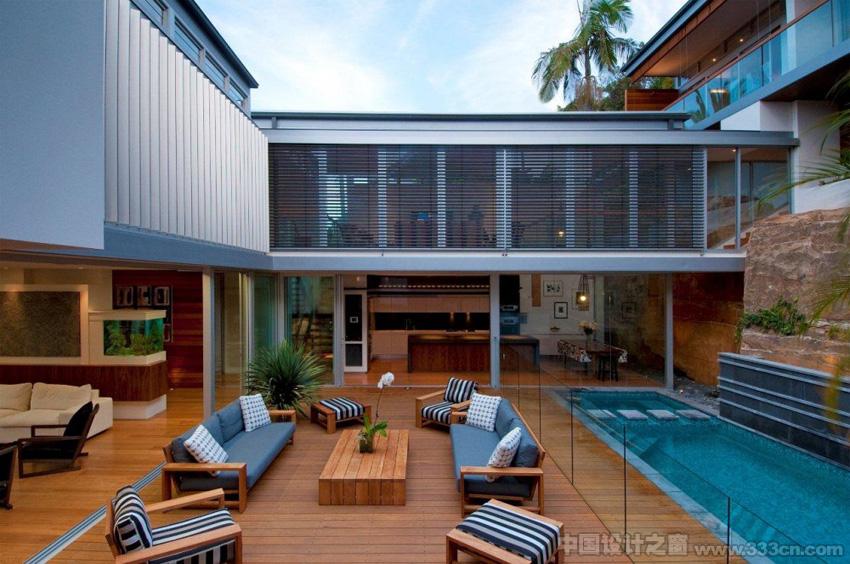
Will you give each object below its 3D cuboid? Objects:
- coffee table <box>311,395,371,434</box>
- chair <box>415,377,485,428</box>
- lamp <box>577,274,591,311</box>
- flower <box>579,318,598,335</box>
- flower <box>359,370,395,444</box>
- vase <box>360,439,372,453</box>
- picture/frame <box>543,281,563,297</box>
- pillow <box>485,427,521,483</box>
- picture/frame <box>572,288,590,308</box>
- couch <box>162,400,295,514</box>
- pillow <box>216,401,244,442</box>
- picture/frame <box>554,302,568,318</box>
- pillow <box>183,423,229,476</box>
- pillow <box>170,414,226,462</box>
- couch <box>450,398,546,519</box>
[{"bbox_3d":[-1.825,2.803,12.898,0.995,0.444,0.913,2,0,-27],"label":"coffee table"},{"bbox_3d":[0.576,2.651,12.983,1.022,0.961,1.123,-1,-4,39],"label":"chair"},{"bbox_3d":[4.116,0.303,15.364,0.358,0.908,0.106,-3,-1,-3],"label":"lamp"},{"bbox_3d":[4.270,1.200,15.450,0.400,0.399,0.386,3,-2,-5],"label":"flower"},{"bbox_3d":[-0.900,2.398,11.047,0.582,1.342,0.525,9,-9,44],"label":"flower"},{"bbox_3d":[-1.058,2.982,10.784,0.218,0.205,0.215,-1,0,-3],"label":"vase"},{"bbox_3d":[3.327,0.184,15.414,0.400,0.290,0.014,0,7,0],"label":"picture/frame"},{"bbox_3d":[1.336,2.943,10.024,0.394,0.630,0.773,8,6,27],"label":"pillow"},{"bbox_3d":[4.098,0.486,15.382,0.437,0.787,0.431,2,-4,3],"label":"picture/frame"},{"bbox_3d":[-3.516,3.135,11.291,1.431,1.188,3.623,-2,2,0],"label":"couch"},{"bbox_3d":[-3.629,2.643,11.146,0.119,0.361,0.601,-16,5,12],"label":"pillow"},{"bbox_3d":[3.559,0.733,15.453,0.422,0.467,0.051,1,1,1],"label":"picture/frame"},{"bbox_3d":[-3.679,2.812,10.015,0.169,0.670,0.704,-33,21,19],"label":"pillow"},{"bbox_3d":[-3.721,2.787,10.001,0.149,0.604,0.644,-36,-3,24],"label":"pillow"},{"bbox_3d":[1.246,3.156,11.394,1.580,1.109,3.605,1,3,-1],"label":"couch"}]
